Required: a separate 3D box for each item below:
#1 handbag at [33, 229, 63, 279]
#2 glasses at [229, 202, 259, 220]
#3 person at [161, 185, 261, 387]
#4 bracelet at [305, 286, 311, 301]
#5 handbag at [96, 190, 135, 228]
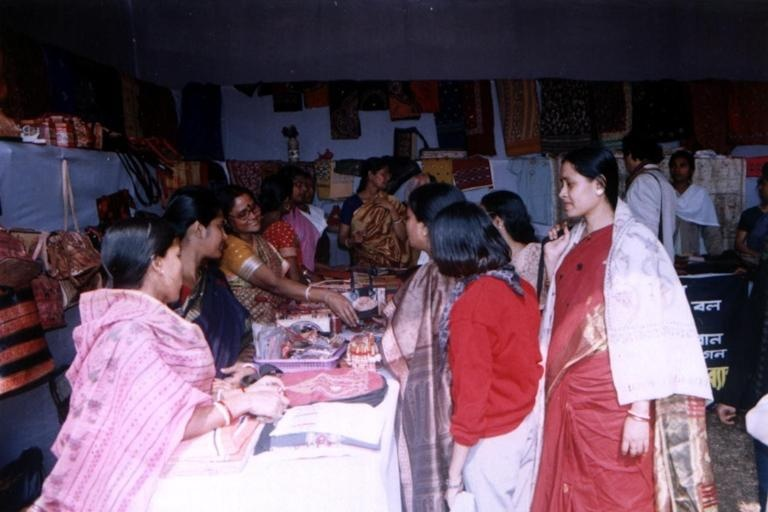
[{"bbox_3d":[-2.134,-0.012,3.575,0.093,0.248,0.199,-21,-23,30],"label":"handbag"},{"bbox_3d":[-0.919,-0.281,3.706,0.118,0.038,0.120,-10,13,27],"label":"glasses"},{"bbox_3d":[-0.904,0.271,3.432,0.419,1.419,0.400,4,41,-12],"label":"person"},{"bbox_3d":[-0.479,0.236,3.533,0.015,0.068,0.067,8,-19,9],"label":"bracelet"},{"bbox_3d":[-2.117,-0.358,4.498,0.238,0.262,0.213,-15,-18,-4],"label":"handbag"}]
